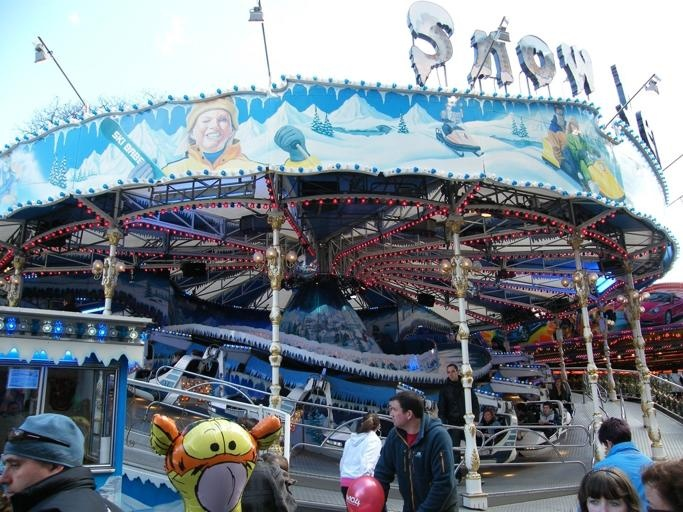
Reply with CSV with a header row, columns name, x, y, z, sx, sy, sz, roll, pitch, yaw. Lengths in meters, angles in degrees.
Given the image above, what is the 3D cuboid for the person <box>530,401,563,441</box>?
name,x,y,z,sx,sy,sz,roll,pitch,yaw
person,6.096,4.770,17.125,0.628,1.015,1.026,5,-8,25

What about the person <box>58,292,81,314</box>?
name,x,y,z,sx,sy,sz,roll,pitch,yaw
person,-10.529,1.757,22.663,0.645,1.056,2.639,8,-16,-24

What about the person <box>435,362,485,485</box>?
name,x,y,z,sx,sy,sz,roll,pitch,yaw
person,2.486,3.452,12.112,0.865,2.357,0.685,-11,-15,16
